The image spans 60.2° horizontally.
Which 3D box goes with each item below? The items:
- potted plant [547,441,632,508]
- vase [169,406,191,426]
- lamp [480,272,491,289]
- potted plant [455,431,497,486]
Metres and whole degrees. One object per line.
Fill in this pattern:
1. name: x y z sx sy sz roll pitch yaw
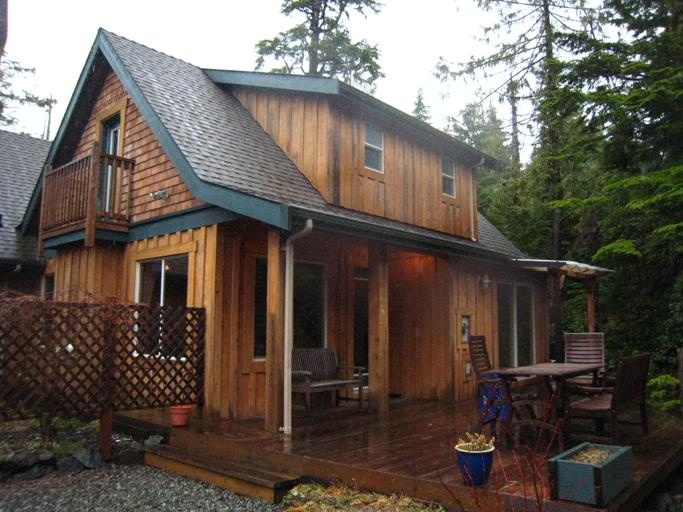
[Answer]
1. potted plant: 2.830 2.432 6.665 1.089 0.586 0.556 -16 13 -43
2. vase: -2.605 2.536 9.428 0.277 0.274 0.295 -4 -8 29
3. lamp: 3.261 0.570 13.330 0.090 0.348 0.468 0 12 34
4. potted plant: 1.585 2.410 7.061 0.514 0.693 0.560 1 -13 -3
